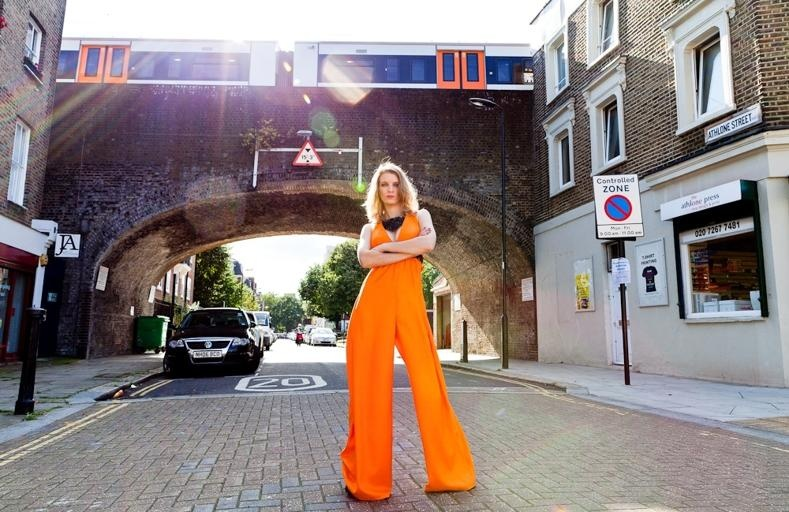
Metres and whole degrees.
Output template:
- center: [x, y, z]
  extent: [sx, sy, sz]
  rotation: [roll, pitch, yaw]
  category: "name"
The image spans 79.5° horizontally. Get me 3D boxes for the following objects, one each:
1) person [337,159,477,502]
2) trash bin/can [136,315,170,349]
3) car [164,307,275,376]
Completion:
- center: [0.052, 0.684, 4.748]
  extent: [1.139, 3.245, 0.410]
  rotation: [0, -9, -6]
  category: "person"
- center: [-11.715, 3.764, 23.099]
  extent: [1.710, 1.719, 1.812]
  rotation: [5, -11, -20]
  category: "trash bin/can"
- center: [-4.989, 2.241, 13.343]
  extent: [1.480, 1.075, 3.086]
  rotation: [-1, -15, -10]
  category: "car"
